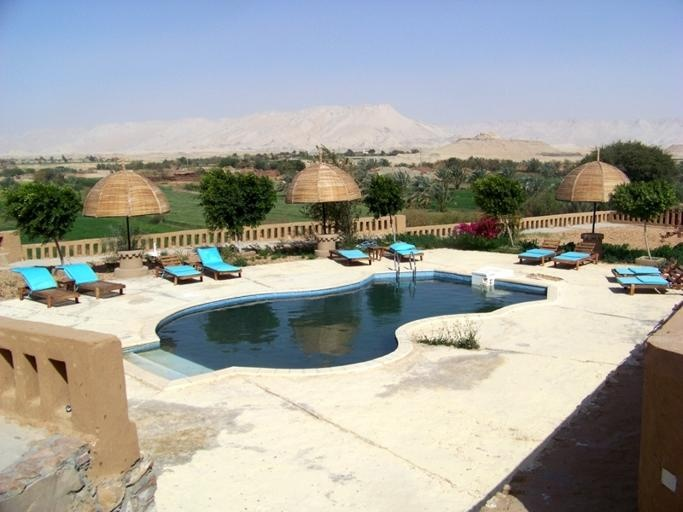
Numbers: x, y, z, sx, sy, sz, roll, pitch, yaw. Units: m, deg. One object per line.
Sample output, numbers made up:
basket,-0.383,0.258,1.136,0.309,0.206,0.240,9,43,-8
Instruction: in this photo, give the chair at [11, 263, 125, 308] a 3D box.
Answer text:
chair,-8.365,0.803,14.444,2.766,0.890,2.074,7,12,36
